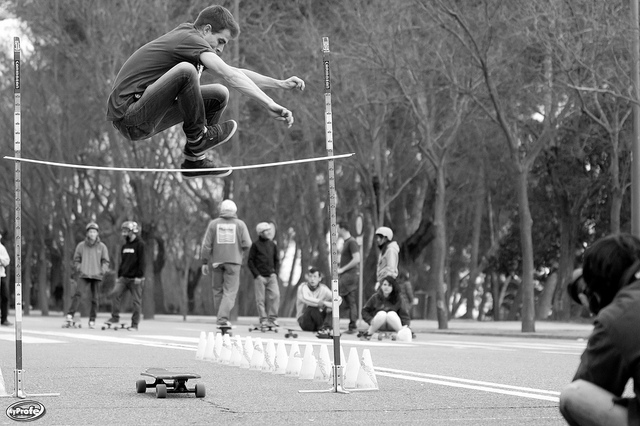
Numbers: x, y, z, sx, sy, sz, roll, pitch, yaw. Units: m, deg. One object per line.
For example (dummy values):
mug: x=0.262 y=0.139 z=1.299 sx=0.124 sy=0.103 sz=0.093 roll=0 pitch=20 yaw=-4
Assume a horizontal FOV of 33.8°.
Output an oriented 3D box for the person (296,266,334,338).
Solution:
person: x=-0.131 y=2.056 z=24.960 sx=0.810 sy=1.668 sz=1.977 roll=2 pitch=-5 yaw=-2

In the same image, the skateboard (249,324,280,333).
skateboard: x=-1.302 y=2.887 z=26.442 sx=0.390 sy=0.110 sz=0.386 roll=2 pitch=-1 yaw=-44

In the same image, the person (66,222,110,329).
person: x=-6.056 y=1.596 z=27.717 sx=0.954 sy=2.782 sz=1.563 roll=3 pitch=-5 yaw=-14

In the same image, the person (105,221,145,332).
person: x=-4.936 y=1.562 z=27.019 sx=0.837 sy=2.841 sz=1.200 roll=3 pitch=-5 yaw=-13

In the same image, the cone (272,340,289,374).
cone: x=-0.712 y=2.528 z=18.284 sx=0.359 sy=0.735 sz=0.347 roll=3 pitch=-13 yaw=-19

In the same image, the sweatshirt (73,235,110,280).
sweatshirt: x=-5.958 y=1.127 z=27.486 sx=0.828 sy=1.169 sz=0.419 roll=3 pitch=5 yaw=-15

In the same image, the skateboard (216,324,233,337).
skateboard: x=-2.034 y=2.585 z=23.500 sx=0.551 sy=0.267 sz=0.200 roll=0 pitch=0 yaw=4

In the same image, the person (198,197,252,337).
person: x=-2.144 y=1.192 z=24.082 sx=1.054 sy=3.150 sz=0.956 roll=-3 pitch=-7 yaw=44

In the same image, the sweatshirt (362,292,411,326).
sweatshirt: x=1.514 y=2.191 z=24.486 sx=1.104 sy=0.760 sz=0.583 roll=1 pitch=-5 yaw=8

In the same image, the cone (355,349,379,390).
cone: x=0.752 y=2.498 z=16.897 sx=0.462 sy=0.754 sz=0.525 roll=0 pitch=0 yaw=15

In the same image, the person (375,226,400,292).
person: x=1.656 y=1.116 z=26.195 sx=0.579 sy=0.835 sz=2.033 roll=9 pitch=39 yaw=0

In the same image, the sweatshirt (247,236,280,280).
sweatshirt: x=-1.389 y=1.075 z=25.935 sx=0.759 sy=1.053 sz=0.437 roll=3 pitch=-5 yaw=-10
